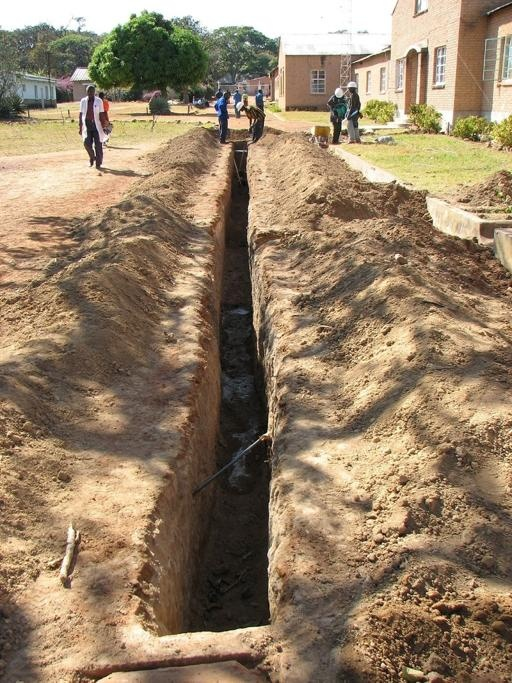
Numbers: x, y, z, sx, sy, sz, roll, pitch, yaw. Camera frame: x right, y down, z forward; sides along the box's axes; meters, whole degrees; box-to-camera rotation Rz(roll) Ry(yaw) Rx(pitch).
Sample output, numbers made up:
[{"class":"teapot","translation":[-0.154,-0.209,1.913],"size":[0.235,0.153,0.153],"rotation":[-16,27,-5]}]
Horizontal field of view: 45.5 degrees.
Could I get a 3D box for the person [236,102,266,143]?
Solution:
[{"class":"person","translation":[-0.070,-6.150,17.071],"size":[0.578,1.044,1.429],"rotation":[0,15,1]}]
